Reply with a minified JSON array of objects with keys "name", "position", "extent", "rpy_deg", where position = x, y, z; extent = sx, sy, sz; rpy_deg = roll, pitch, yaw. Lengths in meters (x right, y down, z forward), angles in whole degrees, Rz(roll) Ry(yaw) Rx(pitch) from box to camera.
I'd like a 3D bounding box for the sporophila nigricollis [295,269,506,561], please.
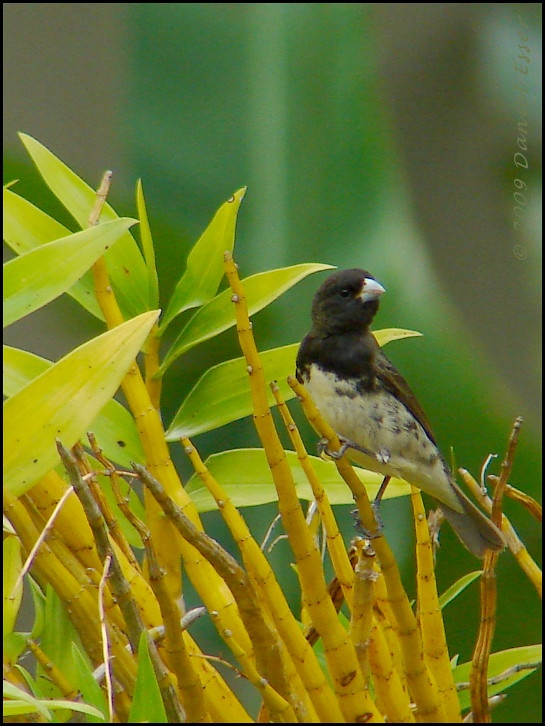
[{"name":"sporophila nigricollis","position":[0.151,0.068,1.324],"extent":[0.334,0.215,0.103],"rpy_deg":[36,-33,-30]}]
